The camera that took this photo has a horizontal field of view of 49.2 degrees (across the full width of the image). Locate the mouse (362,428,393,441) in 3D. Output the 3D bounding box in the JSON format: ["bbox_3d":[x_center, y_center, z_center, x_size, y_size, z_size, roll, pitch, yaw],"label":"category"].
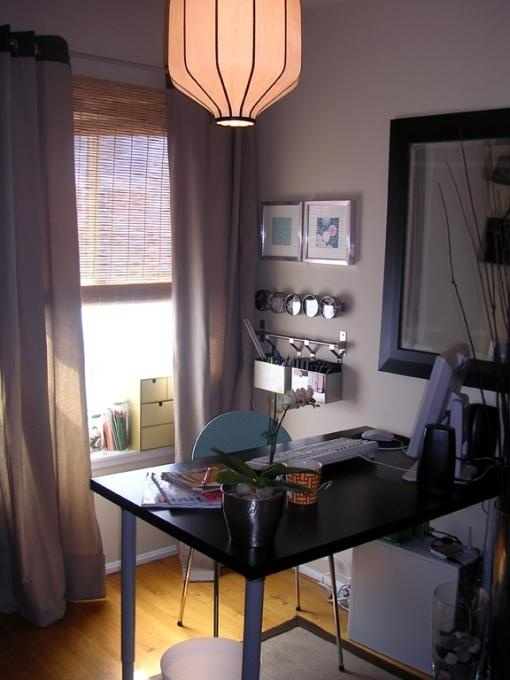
[{"bbox_3d":[0.464,0.356,2.082,0.080,0.031,0.053,-4,6,1],"label":"mouse"}]

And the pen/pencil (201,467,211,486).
[{"bbox_3d":[-0.139,0.386,1.557,0.007,0.007,0.049,-3,29,12],"label":"pen/pencil"}]

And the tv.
[{"bbox_3d":[0.598,0.228,1.753,0.128,0.398,0.358,10,7,26],"label":"tv"}]

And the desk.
[{"bbox_3d":[0.141,0.499,1.569,0.970,0.256,0.667,-1,5,-42],"label":"desk"}]
